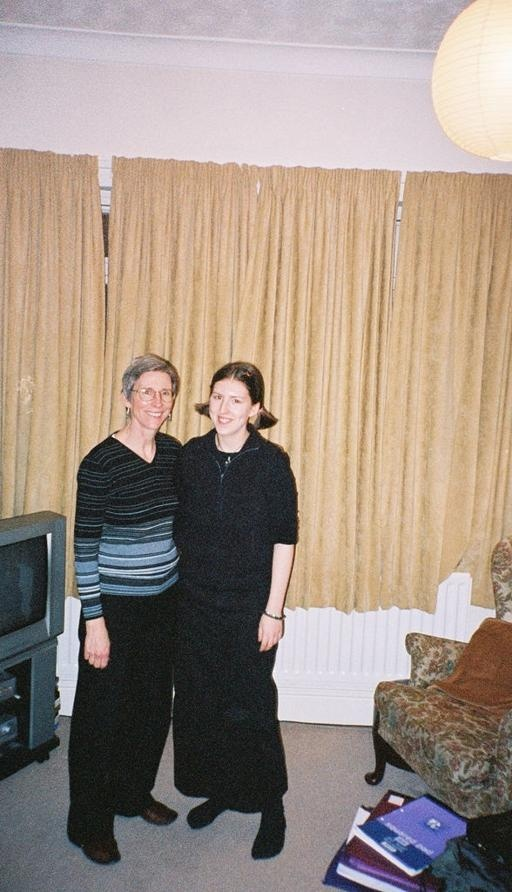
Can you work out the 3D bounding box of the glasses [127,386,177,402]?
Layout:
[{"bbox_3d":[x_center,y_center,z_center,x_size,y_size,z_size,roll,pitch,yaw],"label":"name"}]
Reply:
[{"bbox_3d":[-0.309,-0.155,2.177,0.152,0.048,0.112,-1,9,-20],"label":"glasses"}]

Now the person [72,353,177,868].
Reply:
[{"bbox_3d":[-0.386,0.601,2.223,0.212,1.263,0.389,9,11,42],"label":"person"}]

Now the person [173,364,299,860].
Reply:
[{"bbox_3d":[-0.060,0.595,2.239,0.381,1.308,0.201,6,9,25],"label":"person"}]
